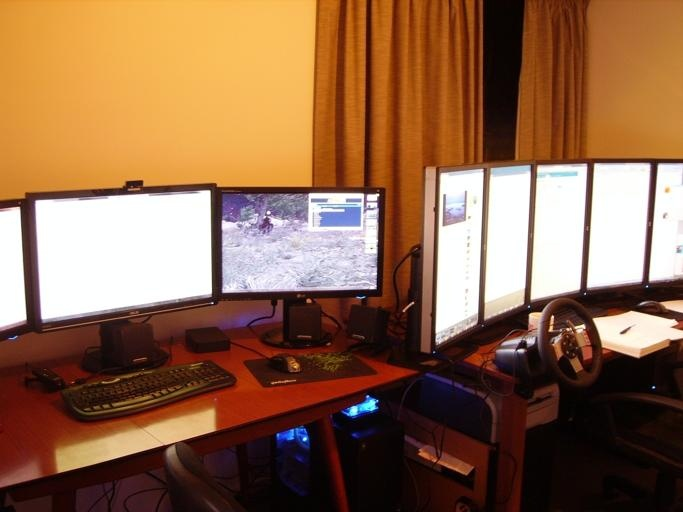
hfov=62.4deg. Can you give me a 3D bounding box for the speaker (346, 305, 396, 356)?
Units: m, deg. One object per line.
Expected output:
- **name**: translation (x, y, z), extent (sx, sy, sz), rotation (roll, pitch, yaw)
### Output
- **speaker**: translation (0.109, 0.285, 2.236), extent (0.171, 0.219, 0.193), rotation (4, 6, 39)

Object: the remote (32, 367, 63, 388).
- **remote**: translation (-0.995, 0.410, 1.896), extent (0.113, 0.027, 0.059), rotation (28, 37, 32)

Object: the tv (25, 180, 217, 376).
- **tv**: translation (-0.818, 0.069, 2.028), extent (0.733, 0.662, 0.303), rotation (-5, 7, -41)

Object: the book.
- **book**: translation (1.201, 0.309, 2.327), extent (0.283, 0.036, 0.245), rotation (-12, 21, -27)

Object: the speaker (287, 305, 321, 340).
- **speaker**: translation (-0.151, 0.272, 2.360), extent (0.154, 0.141, 0.145), rotation (0, 4, 5)

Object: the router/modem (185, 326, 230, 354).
- **router/modem**: translation (-0.525, 0.329, 2.218), extent (0.101, 0.031, 0.140), rotation (-5, 17, -27)
